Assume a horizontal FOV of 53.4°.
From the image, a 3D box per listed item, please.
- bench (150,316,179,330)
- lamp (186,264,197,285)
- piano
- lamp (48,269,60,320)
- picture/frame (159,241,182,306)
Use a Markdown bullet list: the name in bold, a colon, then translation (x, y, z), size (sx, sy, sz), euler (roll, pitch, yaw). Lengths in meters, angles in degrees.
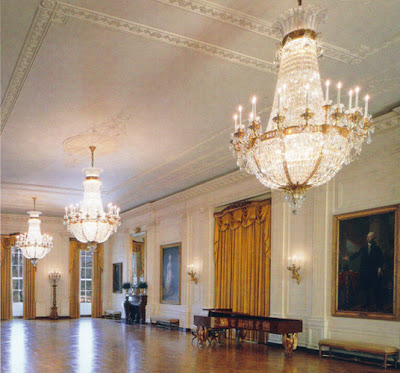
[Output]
- **bench**: translation (-1.348, 5.083, 14.815), size (0.481, 0.368, 1.820), euler (5, -14, -28)
- **lamp**: translation (-0.325, 3.088, 13.884), size (0.285, 0.646, 0.586), euler (4, -12, -22)
- **piano**: translation (1.175, 3.466, 9.783), size (2.203, 0.903, 1.336), euler (-1, -14, 34)
- **lamp**: translation (-7.127, 5.321, 19.528), size (0.591, 2.257, 0.780), euler (4, -11, -26)
- **picture/frame**: translation (-1.111, 3.398, 15.117), size (0.163, 2.637, 2.042), euler (8, -14, -28)
